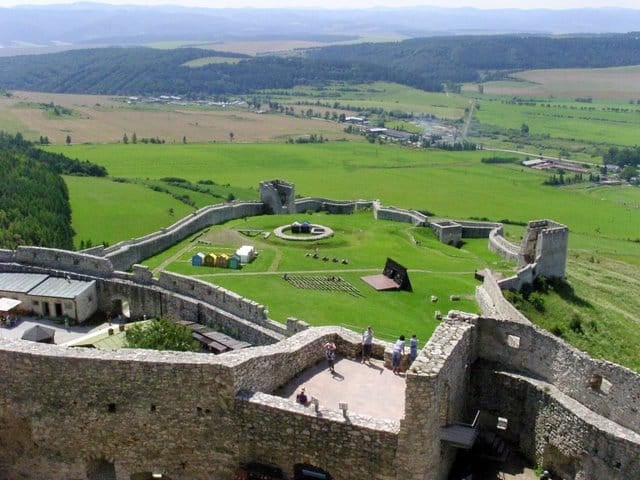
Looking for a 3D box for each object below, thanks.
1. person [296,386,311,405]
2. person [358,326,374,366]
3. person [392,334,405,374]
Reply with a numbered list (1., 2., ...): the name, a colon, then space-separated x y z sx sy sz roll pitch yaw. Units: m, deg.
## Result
1. person: -0.690 6.545 24.069 0.573 0.811 0.499 4 19 6
2. person: 2.236 4.984 27.359 0.586 1.612 0.783 6 10 5
3. person: 3.601 5.388 26.600 0.539 1.448 0.694 7 10 10
